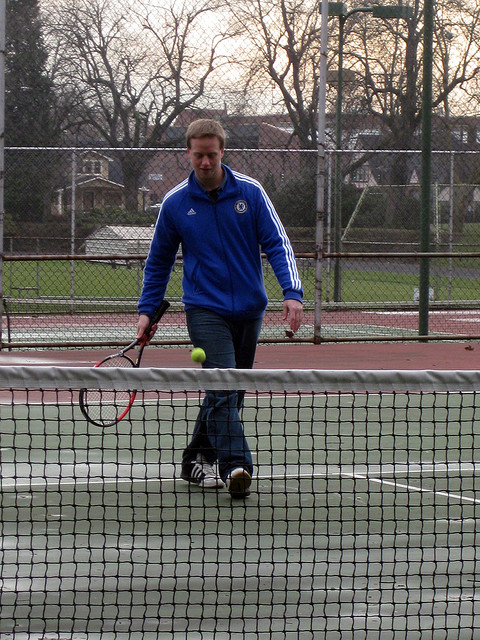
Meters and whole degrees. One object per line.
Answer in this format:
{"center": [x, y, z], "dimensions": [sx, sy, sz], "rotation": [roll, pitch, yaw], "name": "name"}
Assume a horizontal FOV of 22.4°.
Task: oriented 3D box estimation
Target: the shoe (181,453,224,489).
{"center": [-0.169, 0.693, 5.604], "dimensions": [0.195, 0.163, 0.189], "rotation": [0, 1, -10], "name": "shoe"}

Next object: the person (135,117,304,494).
{"center": [-0.099, -0.070, 5.528], "dimensions": [0.642, 1.665, 0.742], "rotation": [0, 1, -24], "name": "person"}

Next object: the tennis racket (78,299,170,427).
{"center": [-0.572, 0.164, 6.313], "dimensions": [0.302, 0.855, 0.063], "rotation": [3, -37, 23], "name": "tennis racket"}

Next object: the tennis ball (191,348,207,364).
{"center": [-0.176, 0.153, 5.241], "dimensions": [0.062, 0.077, 0.063], "rotation": [4, -6, 0], "name": "tennis ball"}

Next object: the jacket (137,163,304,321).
{"center": [-0.078, -0.342, 5.506], "dimensions": [0.763, 0.719, 0.395], "rotation": [-2, 5, 7], "name": "jacket"}
